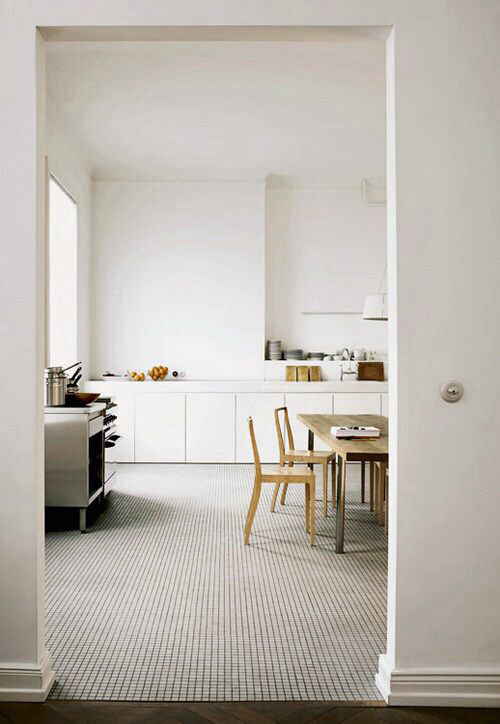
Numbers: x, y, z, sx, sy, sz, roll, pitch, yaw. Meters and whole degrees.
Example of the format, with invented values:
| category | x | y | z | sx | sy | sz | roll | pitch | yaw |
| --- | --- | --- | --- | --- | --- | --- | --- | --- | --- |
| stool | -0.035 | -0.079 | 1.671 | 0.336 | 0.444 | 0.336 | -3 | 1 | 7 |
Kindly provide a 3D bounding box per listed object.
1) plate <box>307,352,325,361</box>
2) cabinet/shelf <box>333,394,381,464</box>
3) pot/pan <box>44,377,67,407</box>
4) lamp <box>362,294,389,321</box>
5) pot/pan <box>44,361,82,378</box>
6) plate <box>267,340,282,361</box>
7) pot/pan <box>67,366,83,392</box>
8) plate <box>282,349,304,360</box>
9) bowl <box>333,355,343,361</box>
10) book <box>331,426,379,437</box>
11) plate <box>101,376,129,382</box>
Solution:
| category | x | y | z | sx | sy | sz | roll | pitch | yaw |
| --- | --- | --- | --- | --- | --- | --- | --- | --- | --- |
| plate | 0.769 | -0.069 | 6.825 | 0.196 | 0.103 | 0.209 | 0 | -1 | 8 |
| cabinet/shelf | 0.775 | 0.467 | 4.300 | 0.595 | 0.447 | 0.338 | 0 | -4 | 0 |
| pot/pan | -1.287 | 0.197 | 3.895 | 0.121 | 0.205 | 0.178 | 1 | 4 | 6 |
| lamp | 0.938 | -0.377 | 4.330 | 0.196 | 0.165 | 0.211 | 3 | 3 | 25 |
| pot/pan | -1.536 | 0.056 | 4.833 | 0.501 | 0.131 | 0.156 | -4 | -4 | 41 |
| plate | 0.282 | -0.132 | 6.772 | 0.185 | 0.245 | 0.202 | 0 | 0 | -3 |
| pot/pan | -1.469 | 0.134 | 4.923 | 0.065 | 0.283 | 0.066 | 19 | 11 | -12 |
| plate | 0.525 | -0.090 | 6.813 | 0.265 | 0.129 | 0.186 | 1 | -1 | -16 |
| bowl | 1.017 | -0.047 | 6.771 | 0.121 | 0.059 | 0.089 | 0 | -1 | 0 |
| book | 0.651 | 0.443 | 3.661 | 0.277 | 0.037 | 0.282 | 0 | 0 | 5 |
| plate | -1.464 | 0.178 | 6.415 | 0.285 | 0.063 | 0.360 | 1 | 0 | -10 |
